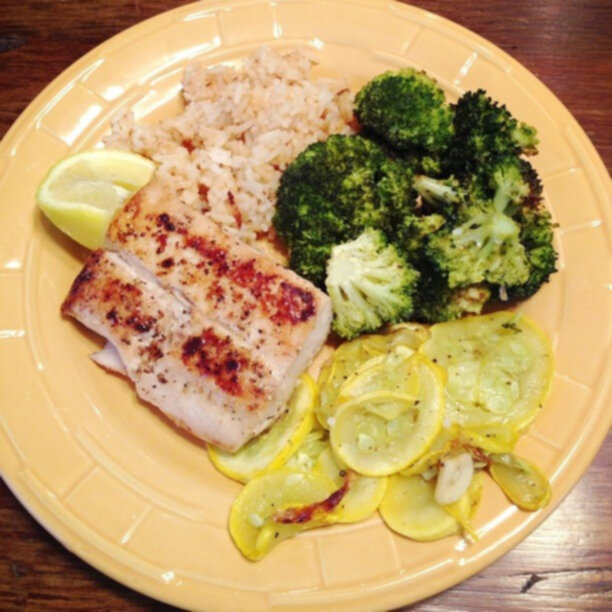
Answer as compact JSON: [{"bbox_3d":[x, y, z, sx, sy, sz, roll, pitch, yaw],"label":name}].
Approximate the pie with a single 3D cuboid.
[{"bbox_3d":[-0.490,0.084,3.035,0.919,0.703,1.255,-29,43,-32],"label":"pie"}]
